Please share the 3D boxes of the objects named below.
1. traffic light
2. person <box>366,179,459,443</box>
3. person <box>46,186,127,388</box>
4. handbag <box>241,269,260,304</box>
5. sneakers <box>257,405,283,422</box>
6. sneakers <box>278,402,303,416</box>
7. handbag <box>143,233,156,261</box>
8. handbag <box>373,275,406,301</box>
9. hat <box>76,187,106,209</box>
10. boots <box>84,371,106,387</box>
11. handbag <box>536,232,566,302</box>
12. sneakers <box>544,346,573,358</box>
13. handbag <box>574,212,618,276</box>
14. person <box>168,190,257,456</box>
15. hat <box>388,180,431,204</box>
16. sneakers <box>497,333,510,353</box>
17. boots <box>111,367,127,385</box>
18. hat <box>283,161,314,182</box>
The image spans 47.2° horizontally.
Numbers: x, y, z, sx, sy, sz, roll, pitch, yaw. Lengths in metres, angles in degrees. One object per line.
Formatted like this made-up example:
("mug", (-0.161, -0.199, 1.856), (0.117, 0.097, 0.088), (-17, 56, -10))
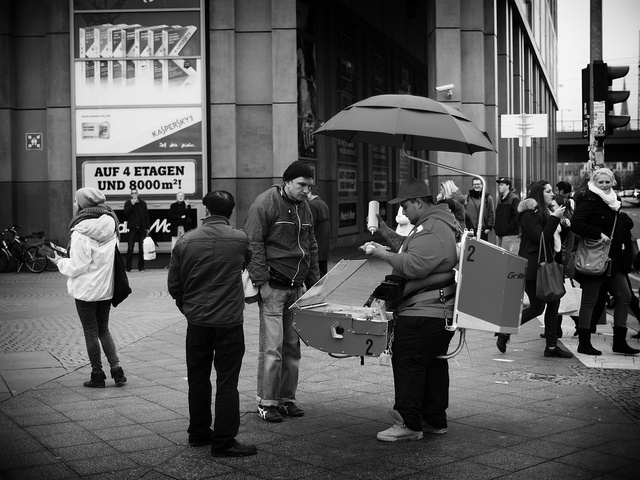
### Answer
("traffic light", (5.334, -2.597, 13.728), (0.812, 1.381, 1.415), (2, 5, 20))
("person", (0.869, 0.621, 6.726), (0.825, 2.343, 0.527), (-1, 4, -9))
("person", (-2.565, 0.519, 8.298), (0.819, 2.185, 0.604), (-1, 4, -16))
("handbag", (-0.673, 0.428, 7.019), (0.124, 0.286, 0.266), (-13, -6, -38))
("sneakers", (-0.484, 1.671, 7.135), (0.157, 0.148, 0.241), (-3, 6, -31))
("sneakers", (-0.293, 1.676, 7.297), (0.248, 0.108, 0.108), (2, 1, 14))
("handbag", (-4.307, 0.223, 18.530), (0.316, 0.642, 0.693), (-1, 5, -14))
("handbag", (0.634, 0.440, 6.632), (0.193, 0.107, 0.263), (13, 25, 31))
("hat", (-2.620, -0.477, 8.369), (0.292, 0.232, 0.211), (13, -9, 1))
("boots", (-2.517, 1.535, 8.196), (0.231, 0.175, 0.233), (-1, 5, -13))
("handbag", (2.956, 0.364, 9.394), (0.348, 0.887, 0.429), (1, 5, 18))
("sneakers", (3.047, 1.451, 9.431), (0.374, 0.177, 0.138), (-1, 3, 11))
("handbag", (3.567, 0.076, 9.450), (0.540, 0.783, 0.305), (0, 4, 6))
("person", (-0.947, 0.857, 6.406), (0.679, 1.931, 0.584), (-1, 4, -12))
("hat", (0.845, -0.438, 6.777), (0.316, 0.176, 0.212), (-3, 3, 1))
("sneakers", (2.412, 1.349, 9.667), (0.135, 0.271, 0.244), (1, 5, 15))
("boots", (-2.253, 1.522, 8.248), (0.176, 0.200, 0.205), (-2, 5, -21))
("hat", (-0.214, -0.684, 7.303), (0.246, 0.198, 0.188), (-2, 3, 13))
